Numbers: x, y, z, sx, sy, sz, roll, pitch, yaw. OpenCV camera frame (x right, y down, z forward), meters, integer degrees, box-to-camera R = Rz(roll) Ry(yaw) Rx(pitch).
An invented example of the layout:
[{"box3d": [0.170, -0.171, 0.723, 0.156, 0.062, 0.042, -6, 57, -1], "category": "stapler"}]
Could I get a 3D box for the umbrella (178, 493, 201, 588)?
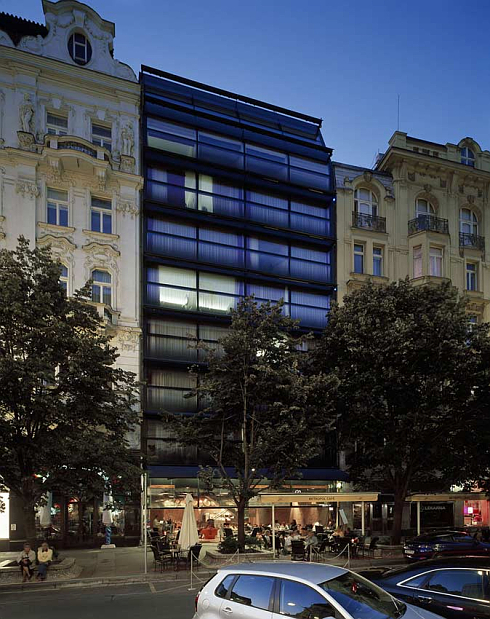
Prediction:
[{"box3d": [-2.060, 8.153, 42.447, 0.700, 2.498, 0.858, -2, -5, -12], "category": "umbrella"}]
